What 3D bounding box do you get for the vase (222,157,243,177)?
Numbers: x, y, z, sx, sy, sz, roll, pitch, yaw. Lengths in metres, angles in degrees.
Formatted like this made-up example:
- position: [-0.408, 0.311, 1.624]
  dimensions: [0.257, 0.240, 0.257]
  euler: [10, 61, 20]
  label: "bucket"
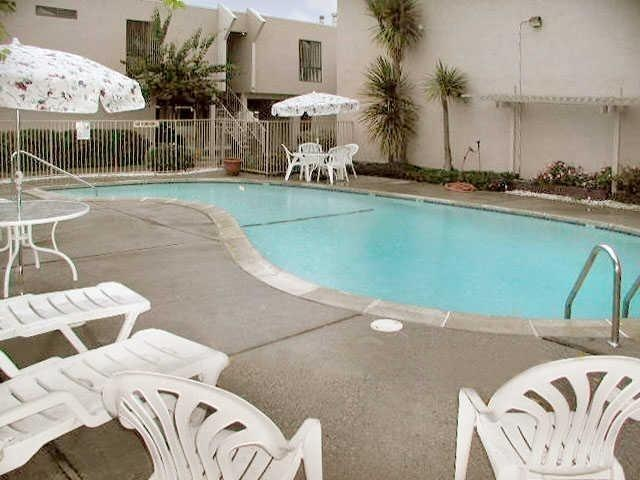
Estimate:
- position: [-3.151, -2.586, 16.267]
  dimensions: [0.591, 0.495, 0.616]
  euler: [-3, 10, -21]
  label: "vase"
